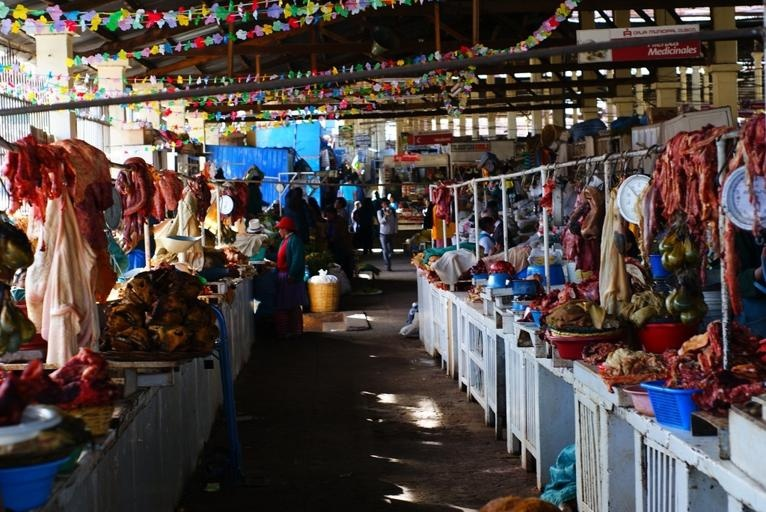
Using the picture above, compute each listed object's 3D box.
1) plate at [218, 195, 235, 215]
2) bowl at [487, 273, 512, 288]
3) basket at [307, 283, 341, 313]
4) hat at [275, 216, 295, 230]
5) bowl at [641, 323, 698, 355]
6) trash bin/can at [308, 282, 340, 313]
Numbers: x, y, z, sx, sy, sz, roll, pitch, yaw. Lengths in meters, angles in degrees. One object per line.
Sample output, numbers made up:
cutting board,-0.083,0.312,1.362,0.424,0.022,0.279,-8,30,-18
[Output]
plate,-1.896,-0.605,9.571,0.168,0.250,0.194,-1,6,-7
bowl,1.004,0.219,6.901,0.131,0.103,0.135,1,-5,0
basket,-1.016,0.689,13.281,0.458,0.487,0.483,0,1,0
hat,-1.335,-0.440,10.989,0.221,0.177,0.264,-1,7,-9
bowl,1.811,0.509,5.103,0.232,0.121,0.232,-1,-6,0
trash bin/can,-0.991,0.696,13.466,0.457,0.486,0.483,-1,1,11
